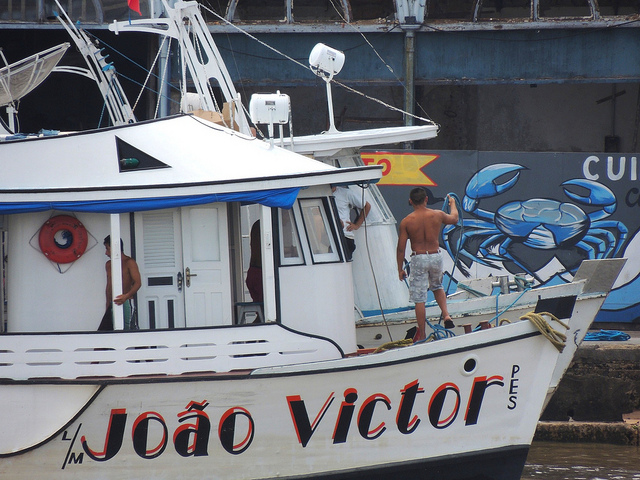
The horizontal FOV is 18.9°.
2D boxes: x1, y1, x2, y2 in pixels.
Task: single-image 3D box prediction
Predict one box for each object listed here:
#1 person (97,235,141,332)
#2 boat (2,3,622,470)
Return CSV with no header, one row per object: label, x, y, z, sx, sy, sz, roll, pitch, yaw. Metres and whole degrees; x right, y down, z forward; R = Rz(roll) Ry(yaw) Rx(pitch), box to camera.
person,-3.358,0.754,32.087,0.744,1.551,0.401,-2,4,-1
boat,-1.236,0.636,35.976,13.042,8.811,5.703,-2,2,0
